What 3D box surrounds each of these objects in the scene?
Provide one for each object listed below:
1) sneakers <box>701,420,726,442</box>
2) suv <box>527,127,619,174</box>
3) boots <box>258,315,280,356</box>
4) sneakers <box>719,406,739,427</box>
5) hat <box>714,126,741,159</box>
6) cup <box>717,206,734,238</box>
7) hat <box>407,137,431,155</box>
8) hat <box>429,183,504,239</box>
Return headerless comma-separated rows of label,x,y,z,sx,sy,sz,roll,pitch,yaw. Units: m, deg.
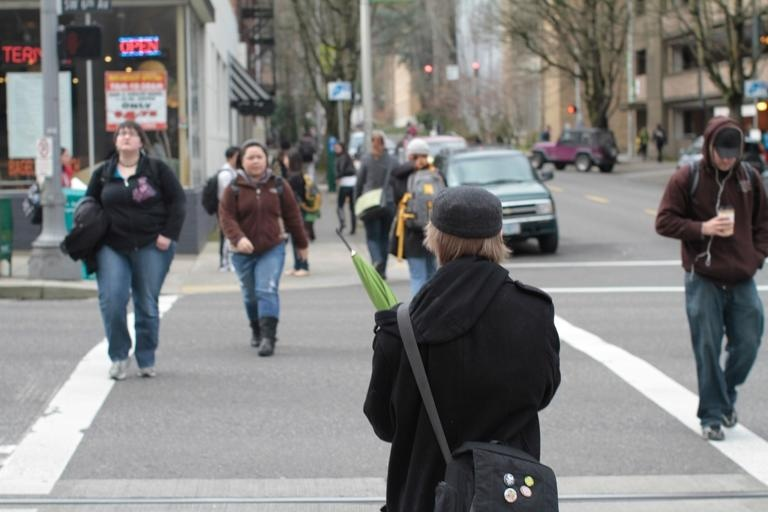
sneakers,2.920,1.551,8.344,0.253,0.125,0.094,-2,3,-41
suv,8.610,-4.571,41.760,1.941,1.905,3.558,-7,15,-43
boots,-1.310,0.905,10.736,0.181,0.419,0.540,-1,4,4
sneakers,3.151,1.479,8.558,0.101,0.132,0.298,-15,18,25
hat,2.969,-0.967,8.107,0.173,0.288,0.137,-2,-15,8
cup,2.991,-0.294,8.177,0.223,0.273,0.121,-5,9,-32
hat,0.487,-1.429,12.544,0.232,0.270,0.218,1,4,40
hat,0.595,-0.285,6.017,0.508,0.330,0.546,6,15,43
